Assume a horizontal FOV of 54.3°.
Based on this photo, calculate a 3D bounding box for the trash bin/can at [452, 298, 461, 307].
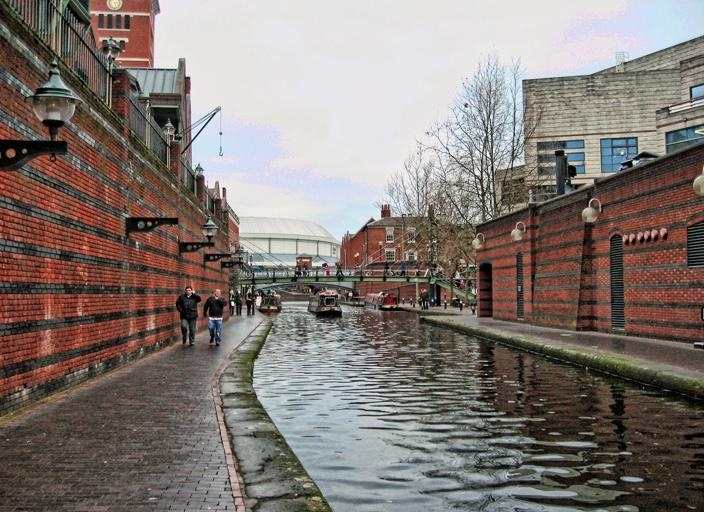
[{"bbox_3d":[9.292,4.167,61.556,0.691,0.585,1.114,-1,-19,10],"label":"trash bin/can"}]

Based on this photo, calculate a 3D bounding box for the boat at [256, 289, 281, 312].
[{"bbox_3d":[-8.943,4.627,72.420,2.838,3.262,9.072,1,0,-6],"label":"boat"}]
